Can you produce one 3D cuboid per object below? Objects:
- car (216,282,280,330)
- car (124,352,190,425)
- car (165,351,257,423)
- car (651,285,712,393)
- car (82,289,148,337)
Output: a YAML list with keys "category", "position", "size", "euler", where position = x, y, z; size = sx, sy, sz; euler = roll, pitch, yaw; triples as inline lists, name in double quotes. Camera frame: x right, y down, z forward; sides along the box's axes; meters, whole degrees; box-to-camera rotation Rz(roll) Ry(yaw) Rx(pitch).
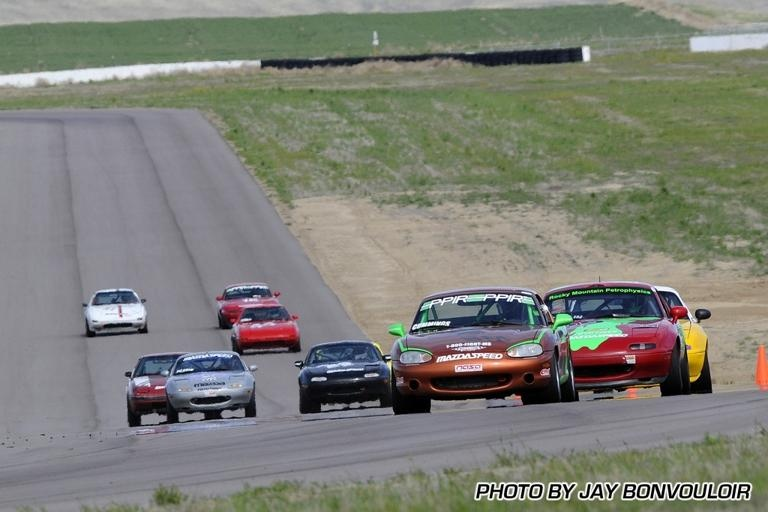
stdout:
- category: "car"
  position: [-5.568, 1.898, 59.765]
  size: [2.571, 1.491, 4.845]
  euler: [-3, 10, -10]
- category: "car"
  position: [-7.923, 4.735, 52.534]
  size: [2.378, 2.081, 4.751]
  euler: [-2, 4, -8]
- category: "car"
  position: [-6.187, 4.574, 51.964]
  size: [3.056, 1.694, 5.658]
  euler: [-4, 5, -7]
- category: "car"
  position: [9.648, 2.992, 48.202]
  size: [3.447, 2.791, 6.370]
  euler: [-1, -6, 6]
- category: "car"
  position: [-10.803, 2.207, 59.341]
  size: [2.461, 1.535, 4.564]
  euler: [-2, 9, -10]
